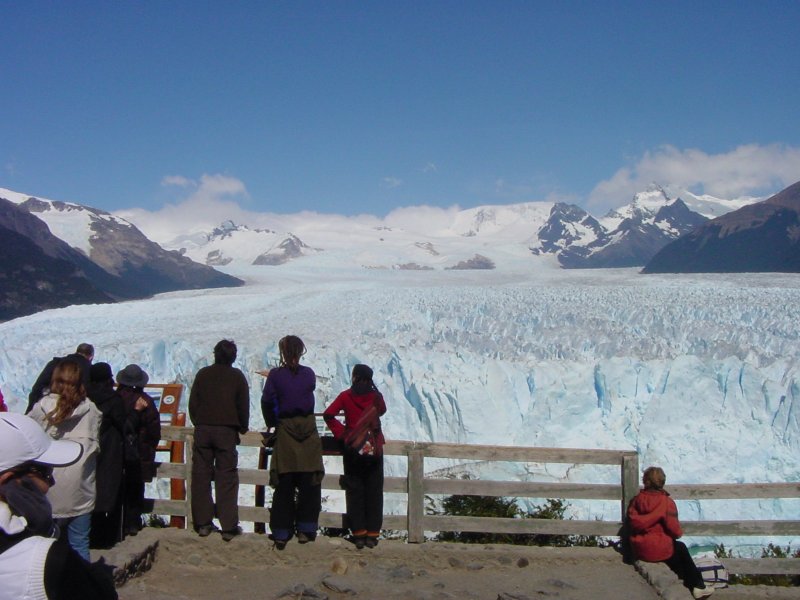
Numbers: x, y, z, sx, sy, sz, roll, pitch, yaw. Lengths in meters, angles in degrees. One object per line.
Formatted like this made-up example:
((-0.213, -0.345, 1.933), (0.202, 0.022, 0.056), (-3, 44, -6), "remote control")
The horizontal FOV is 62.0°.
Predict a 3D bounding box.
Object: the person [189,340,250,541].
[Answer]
((-2.378, 1.836, 8.722), (0.714, 2.562, 0.390), (-1, 3, -16), "person")

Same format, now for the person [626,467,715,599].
((3.350, 2.894, 8.340), (0.927, 1.517, 0.315), (1, 4, 23), "person")

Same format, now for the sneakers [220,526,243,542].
((-2.214, 3.034, 8.732), (0.124, 0.138, 0.326), (-3, 7, 11), "sneakers")

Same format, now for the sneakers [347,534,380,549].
((-0.470, 3.124, 8.640), (0.413, 0.165, 0.144), (-7, -5, 27), "sneakers")

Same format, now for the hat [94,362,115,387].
((-3.720, 0.911, 8.399), (0.226, 0.169, 0.317), (6, 8, -6), "hat")

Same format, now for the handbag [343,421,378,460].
((-0.484, 1.836, 8.530), (0.421, 0.386, 0.401), (0, -13, 3), "handbag")

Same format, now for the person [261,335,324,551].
((-1.401, 1.828, 8.648), (0.770, 2.734, 0.415), (0, 3, -10), "person")
